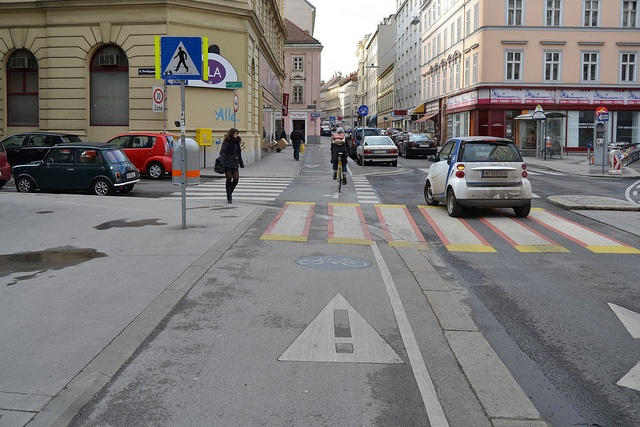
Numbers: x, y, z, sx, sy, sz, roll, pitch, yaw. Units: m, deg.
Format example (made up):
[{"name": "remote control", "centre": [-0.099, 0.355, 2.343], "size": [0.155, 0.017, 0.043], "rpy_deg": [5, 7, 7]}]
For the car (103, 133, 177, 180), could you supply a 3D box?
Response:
[{"name": "car", "centre": [-7.558, -2.617, 22.670], "size": [4.428, 2.244, 2.829], "rpy_deg": [5, 9, 6]}]

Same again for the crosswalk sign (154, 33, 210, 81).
[{"name": "crosswalk sign", "centre": [-3.095, -3.480, 10.821], "size": [1.072, 0.984, 0.086], "rpy_deg": [-2, -3, -7]}]

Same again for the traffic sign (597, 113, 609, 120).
[{"name": "traffic sign", "centre": [15.583, -5.395, 26.851], "size": [0.447, 0.121, 0.520], "rpy_deg": [2, 49, 9]}]

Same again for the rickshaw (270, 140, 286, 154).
[{"name": "rickshaw", "centre": [-3.566, -6.201, 44.019], "size": [0.836, 1.211, 2.063], "rpy_deg": [-4, 11, -13]}]

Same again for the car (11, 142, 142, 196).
[{"name": "car", "centre": [-8.310, -1.629, 16.990], "size": [3.229, 1.536, 2.052], "rpy_deg": [4, 8, 3]}]

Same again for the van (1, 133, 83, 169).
[{"name": "van", "centre": [-12.758, -2.945, 21.922], "size": [4.071, 1.590, 1.847], "rpy_deg": [4, 8, 3]}]
